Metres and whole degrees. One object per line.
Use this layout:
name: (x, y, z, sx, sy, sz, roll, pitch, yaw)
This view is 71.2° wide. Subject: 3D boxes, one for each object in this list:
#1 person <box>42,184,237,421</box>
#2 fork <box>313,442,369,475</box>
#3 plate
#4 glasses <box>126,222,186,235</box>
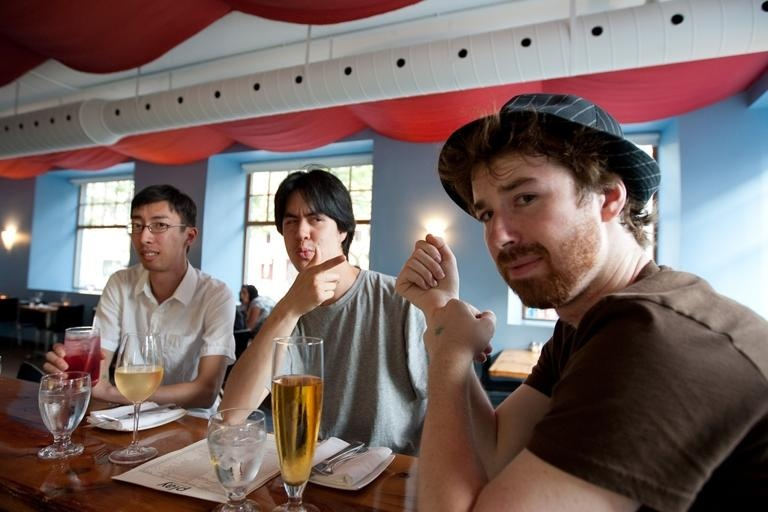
person: (-1.334, 0.250, 3.159, 0.961, 1.269, 0.883, -1, -2, 7)
fork: (-0.173, 0.762, 2.014, 0.074, 0.036, 0.204, 5, 4, 22)
plate: (-0.065, 0.784, 1.996, 0.183, 0.193, 0.032, -9, 20, -7)
glasses: (-1.364, -0.166, 3.177, 0.321, 0.083, 0.118, -1, 14, -8)
